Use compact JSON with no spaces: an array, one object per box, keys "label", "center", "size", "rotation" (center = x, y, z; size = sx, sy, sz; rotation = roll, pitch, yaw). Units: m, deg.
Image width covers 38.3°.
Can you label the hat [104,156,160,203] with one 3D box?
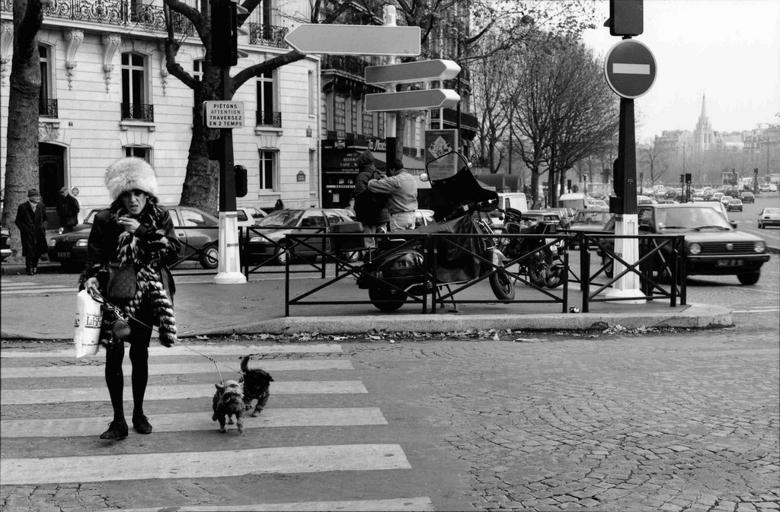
[{"label":"hat","center":[-3.082,-0.900,13.205],"size":[0.615,0.536,0.732],"rotation":[-9,14,-27]}]

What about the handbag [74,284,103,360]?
[{"label":"handbag","center":[-3.463,0.750,12.798],"size":[0.296,0.733,0.252],"rotation":[-1,6,-19]}]

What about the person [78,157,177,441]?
[{"label":"person","center":[-3.002,0.494,12.949],"size":[1.098,3.216,0.573],"rotation":[-1,6,-12]}]

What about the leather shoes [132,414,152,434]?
[{"label":"leather shoes","center":[-2.897,1.948,13.105],"size":[0.131,0.136,0.345],"rotation":[-19,23,-32]}]

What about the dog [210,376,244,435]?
[{"label":"dog","center":[-1.928,1.764,13.205],"size":[0.401,0.595,0.310],"rotation":[2,6,10]}]

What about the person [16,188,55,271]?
[{"label":"person","center":[-8.576,-0.491,26.717],"size":[0.721,1.787,1.386],"rotation":[-1,6,-18]}]

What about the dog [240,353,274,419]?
[{"label":"dog","center":[-1.643,1.547,13.659],"size":[0.385,0.768,0.576],"rotation":[2,6,13]}]

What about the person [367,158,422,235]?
[{"label":"person","center":[0.034,-0.721,20.175],"size":[0.853,1.923,0.976],"rotation":[7,9,17]}]

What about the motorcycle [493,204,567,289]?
[{"label":"motorcycle","center":[2.528,0.031,19.531],"size":[1.267,1.174,1.929],"rotation":[-1,3,1]}]
